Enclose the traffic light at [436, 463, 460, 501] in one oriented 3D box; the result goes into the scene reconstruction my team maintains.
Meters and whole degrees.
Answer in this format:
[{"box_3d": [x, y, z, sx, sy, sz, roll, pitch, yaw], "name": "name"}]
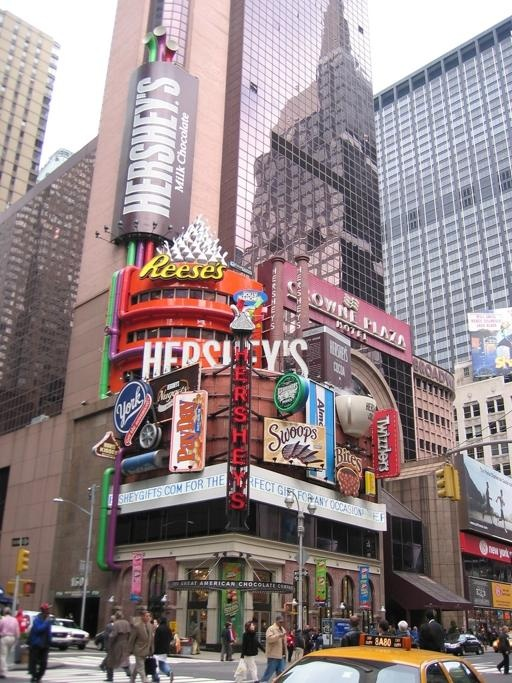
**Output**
[{"box_3d": [7.117, 5.173, 21.177, 0.779, 1.392, 1.189, -6, -24, 16], "name": "traffic light"}]
